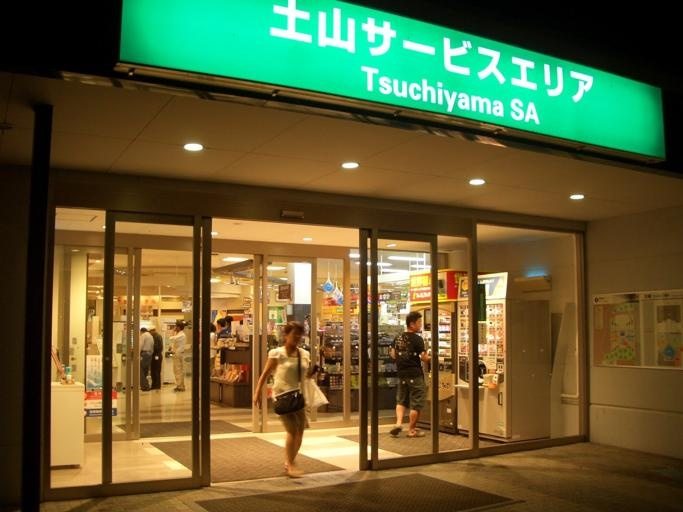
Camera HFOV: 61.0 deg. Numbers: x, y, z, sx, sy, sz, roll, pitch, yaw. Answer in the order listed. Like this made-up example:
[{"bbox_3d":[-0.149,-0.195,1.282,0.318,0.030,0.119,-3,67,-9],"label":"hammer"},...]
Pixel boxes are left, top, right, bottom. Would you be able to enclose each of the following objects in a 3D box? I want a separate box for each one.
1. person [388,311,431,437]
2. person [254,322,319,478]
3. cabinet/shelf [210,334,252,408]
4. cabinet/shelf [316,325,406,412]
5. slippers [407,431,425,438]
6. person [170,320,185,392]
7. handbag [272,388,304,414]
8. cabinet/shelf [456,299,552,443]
[{"bbox_3d":[0.837,1.549,7.499,0.628,1.674,0.473,-4,-7,45],"label":"person"},{"bbox_3d":[-0.623,1.604,6.505,0.502,1.715,0.524,-3,-6,34],"label":"person"},{"bbox_3d":[-2.205,2.247,11.359,0.369,1.038,1.115,4,-8,-36],"label":"cabinet/shelf"},{"bbox_3d":[0.353,1.951,9.691,1.304,1.316,0.414,0,-16,-3],"label":"cabinet/shelf"},{"bbox_3d":[1.011,2.367,7.755,0.245,0.107,0.083,0,-2,-15],"label":"slippers"},{"bbox_3d":[-1.765,1.080,6.254,0.079,0.756,0.301,5,-6,-37],"label":"person"},{"bbox_3d":[-0.568,1.596,6.307,0.290,0.233,0.107,-11,6,-3],"label":"handbag"},{"bbox_3d":[2.547,1.715,8.961,0.944,2.255,0.961,3,-8,-20],"label":"cabinet/shelf"}]
